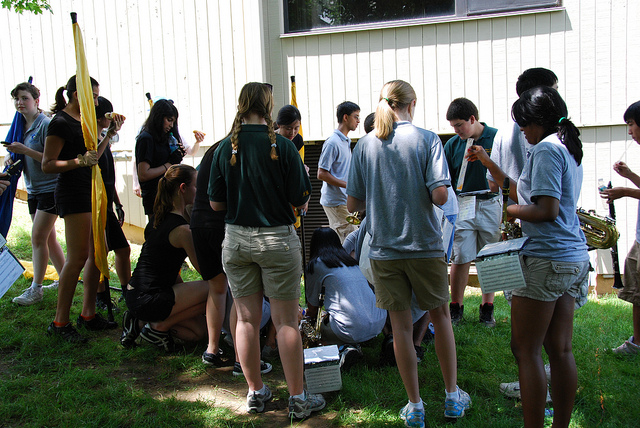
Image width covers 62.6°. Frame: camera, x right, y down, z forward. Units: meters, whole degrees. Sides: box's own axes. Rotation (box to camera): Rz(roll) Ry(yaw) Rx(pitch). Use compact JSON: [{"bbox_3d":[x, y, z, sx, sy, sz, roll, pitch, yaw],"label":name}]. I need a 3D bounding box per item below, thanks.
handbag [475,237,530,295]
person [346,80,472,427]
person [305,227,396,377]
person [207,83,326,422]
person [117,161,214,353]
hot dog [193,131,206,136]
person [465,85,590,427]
[{"bbox_3d":[1.306,0.444,4.089,0.388,0.392,0.333,-5,-16,-17],"label":"handbag"},{"bbox_3d":[0.738,0.295,4.398,0.914,2.828,0.509,3,8,41],"label":"person"},{"bbox_3d":[0.283,0.792,5.292,0.822,1.516,0.741,-14,4,-38],"label":"person"},{"bbox_3d":[-0.462,0.319,4.437,0.893,2.820,0.464,-2,6,-2],"label":"person"},{"bbox_3d":[-1.462,0.432,5.456,1.034,1.892,0.782,-2,17,-28],"label":"person"},{"bbox_3d":[-1.576,-1.083,6.886,0.144,0.059,0.106,19,4,-20],"label":"hot dog"},{"bbox_3d":[1.754,0.310,4.006,0.604,2.576,0.453,-1,6,8],"label":"person"}]
